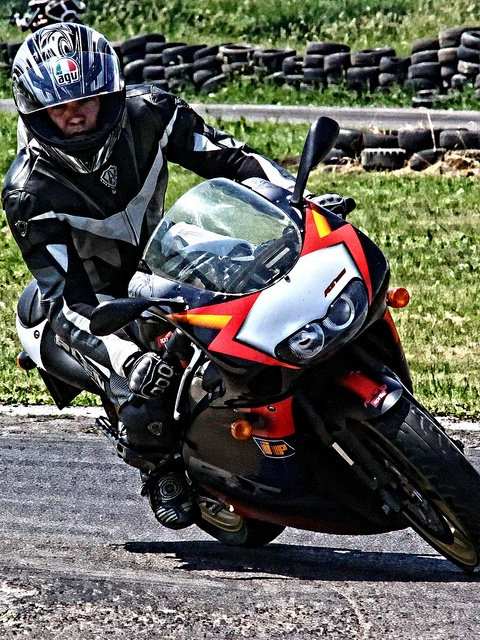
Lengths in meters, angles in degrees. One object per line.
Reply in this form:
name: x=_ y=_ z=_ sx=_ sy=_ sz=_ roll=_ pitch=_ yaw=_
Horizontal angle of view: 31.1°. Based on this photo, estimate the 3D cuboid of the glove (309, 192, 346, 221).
glove: x=0.374 y=-0.488 z=3.612 sx=0.164 sy=0.058 sz=0.103 roll=21 pitch=28 yaw=-14
